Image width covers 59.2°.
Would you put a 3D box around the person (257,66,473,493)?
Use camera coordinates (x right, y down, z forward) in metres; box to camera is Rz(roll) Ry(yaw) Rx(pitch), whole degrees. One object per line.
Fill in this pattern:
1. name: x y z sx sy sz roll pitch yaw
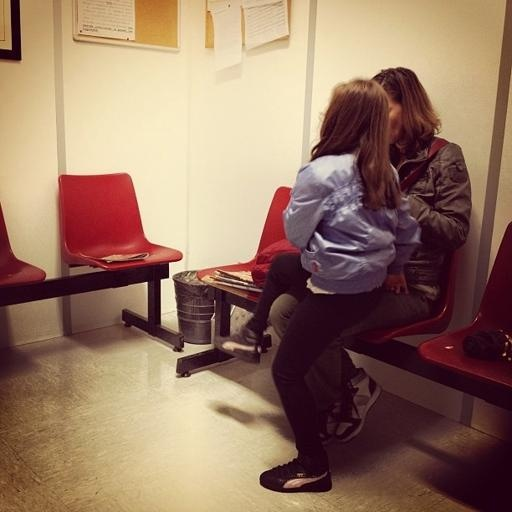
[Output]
1. person: 0.394 0.078 1.791 0.732 1.662 0.637 -2 10 -28

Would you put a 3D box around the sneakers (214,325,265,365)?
1. sneakers: -0.062 0.348 1.930 0.225 0.175 0.081 11 31 15

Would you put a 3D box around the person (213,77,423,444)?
1. person: 0.183 0.072 1.604 0.653 1.270 0.435 5 3 35

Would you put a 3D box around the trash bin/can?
1. trash bin/can: -0.356 0.318 2.793 0.295 0.445 0.347 0 -4 -19

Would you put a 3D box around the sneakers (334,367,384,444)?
1. sneakers: 0.417 0.573 1.881 0.112 0.151 0.351 -12 36 49

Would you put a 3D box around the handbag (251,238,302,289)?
1. handbag: 0.086 0.017 2.076 0.176 0.223 0.066 57 23 21

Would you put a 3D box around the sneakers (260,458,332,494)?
1. sneakers: 0.134 0.737 1.576 0.266 0.139 0.105 1 -2 3

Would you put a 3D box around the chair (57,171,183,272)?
1. chair: -0.794 -0.222 2.596 0.566 0.545 0.596 3 9 28
